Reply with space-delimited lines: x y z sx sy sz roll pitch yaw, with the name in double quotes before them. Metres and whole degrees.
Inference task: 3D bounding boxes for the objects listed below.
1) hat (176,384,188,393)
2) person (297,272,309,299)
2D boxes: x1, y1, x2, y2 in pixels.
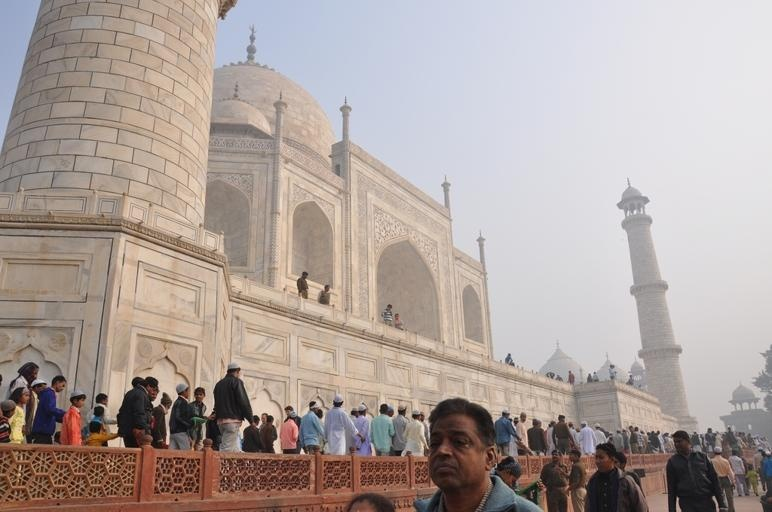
"hat" -3.013 1.944 8.518 0.161 0.106 0.196 -4 2 12
"person" -2.581 0.907 17.720 0.276 1.088 0.996 3 -23 -11
